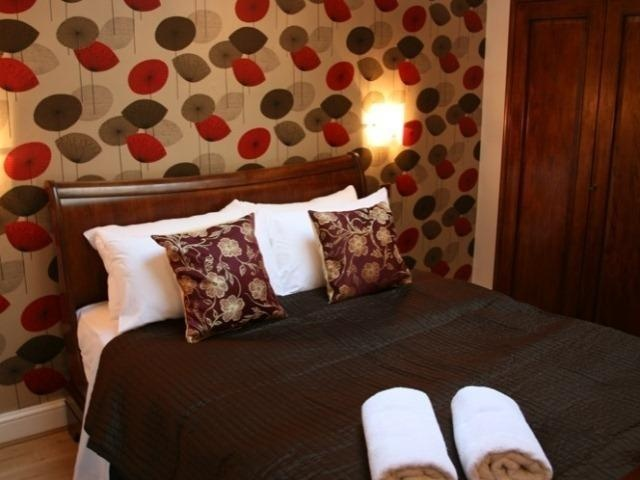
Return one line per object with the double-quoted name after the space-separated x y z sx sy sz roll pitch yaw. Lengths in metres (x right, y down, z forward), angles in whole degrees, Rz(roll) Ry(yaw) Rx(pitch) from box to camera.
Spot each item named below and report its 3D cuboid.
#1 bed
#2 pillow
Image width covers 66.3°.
0.056 0.315 2.401 1.211 0.840 1.287 -20 34 -28 "bed"
-0.411 0.075 2.689 1.477 0.554 0.595 -16 17 -26 "pillow"
